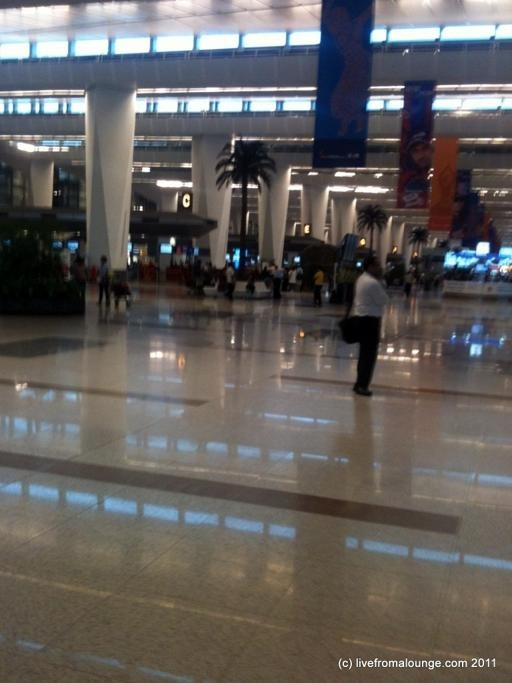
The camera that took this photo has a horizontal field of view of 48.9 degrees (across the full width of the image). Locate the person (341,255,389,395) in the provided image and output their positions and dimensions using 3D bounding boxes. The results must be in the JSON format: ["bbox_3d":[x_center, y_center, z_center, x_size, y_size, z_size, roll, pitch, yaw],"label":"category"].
[{"bbox_3d":[1.383,-0.212,7.339,0.543,1.765,1.215,3,6,11],"label":"person"}]

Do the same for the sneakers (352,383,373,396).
[{"bbox_3d":[1.345,0.622,7.190,0.094,0.130,0.277,6,2,-14],"label":"sneakers"}]

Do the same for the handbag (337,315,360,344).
[{"bbox_3d":[1.148,-0.125,7.113,0.204,0.336,0.364,0,6,-20],"label":"handbag"}]
